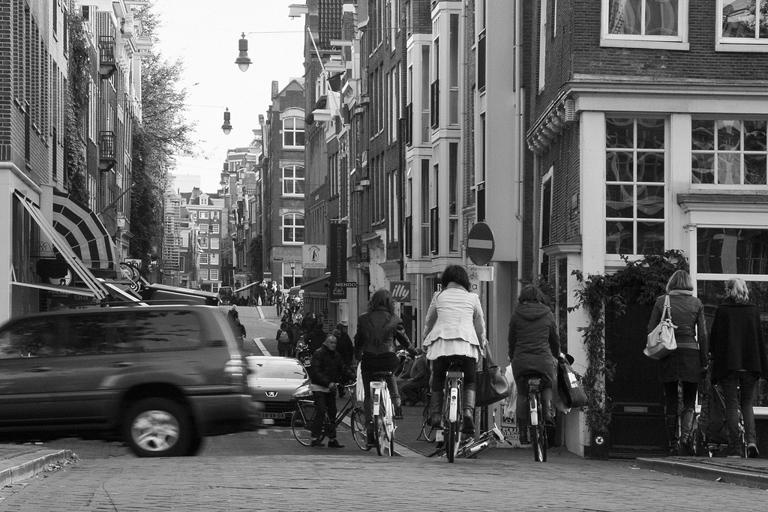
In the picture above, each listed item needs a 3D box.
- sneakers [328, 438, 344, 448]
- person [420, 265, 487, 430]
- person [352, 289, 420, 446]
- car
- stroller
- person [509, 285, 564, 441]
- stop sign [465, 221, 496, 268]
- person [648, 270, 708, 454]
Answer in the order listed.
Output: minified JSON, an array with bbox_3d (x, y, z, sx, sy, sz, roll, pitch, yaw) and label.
[{"bbox_3d":[-0.920,3.453,24.785,0.349,0.237,0.121,0,7,-13],"label":"sneakers"},{"bbox_3d":[1.018,1.357,19.725,0.873,2.490,0.587,1,-4,5],"label":"person"},{"bbox_3d":[-0.053,1.754,21.201,0.853,2.463,1.267,1,-4,-1],"label":"person"},{"bbox_3d":[-2.069,2.796,27.125,1.860,1.370,4.147,0,-6,-3],"label":"car"},{"bbox_3d":[5.175,2.561,20.784,0.825,0.954,1.586,0,-3,11],"label":"stroller"},{"bbox_3d":[2.223,1.611,20.083,0.736,2.342,0.515,0,-4,7],"label":"person"},{"bbox_3d":[1.757,-0.222,24.595,0.016,0.808,0.834,0,-2,41],"label":"stop sign"},{"bbox_3d":[4.356,1.583,20.028,0.870,2.737,0.634,0,-4,6],"label":"person"}]
